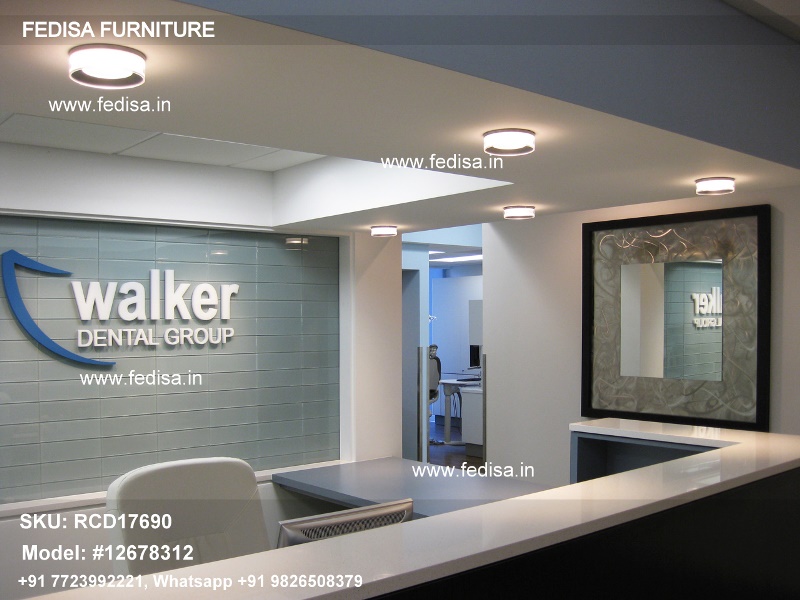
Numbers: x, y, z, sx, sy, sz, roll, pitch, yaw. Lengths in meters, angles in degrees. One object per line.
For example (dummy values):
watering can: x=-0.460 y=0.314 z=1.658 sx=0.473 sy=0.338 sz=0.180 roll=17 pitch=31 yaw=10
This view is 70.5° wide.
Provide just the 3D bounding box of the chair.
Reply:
chair: x=-0.922 y=0.831 z=2.477 sx=0.462 sy=0.649 sz=0.548 roll=-3 pitch=-7 yaw=-37

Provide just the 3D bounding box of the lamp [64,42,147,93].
lamp: x=-0.730 y=-0.584 z=1.417 sx=0.165 sy=0.059 sz=0.165 roll=-3 pitch=3 yaw=8

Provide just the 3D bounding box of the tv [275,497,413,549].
tv: x=-0.136 y=0.627 z=1.619 sx=0.464 sy=0.072 sz=0.062 roll=4 pitch=-7 yaw=-40

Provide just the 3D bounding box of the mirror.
mirror: x=2.048 y=0.120 z=4.108 sx=0.076 sy=1.758 sz=1.688 roll=4 pitch=-4 yaw=-42
